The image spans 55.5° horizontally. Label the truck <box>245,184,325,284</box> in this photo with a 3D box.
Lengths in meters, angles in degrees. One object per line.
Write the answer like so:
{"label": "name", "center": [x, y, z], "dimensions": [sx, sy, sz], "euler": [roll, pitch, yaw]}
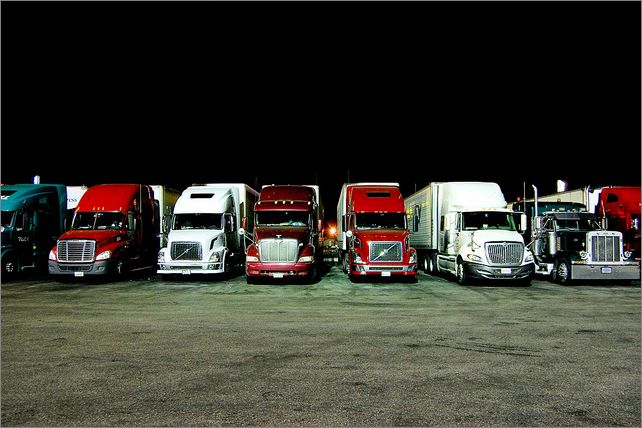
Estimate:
{"label": "truck", "center": [-1.426, 0.859, 24.267], "dimensions": [2.702, 3.560, 3.219], "euler": [1, 6, 4]}

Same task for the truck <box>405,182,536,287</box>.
{"label": "truck", "center": [6.043, 0.682, 26.250], "dimensions": [2.154, 3.045, 7.734], "euler": [0, -4, -3]}

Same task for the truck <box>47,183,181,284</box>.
{"label": "truck", "center": [-8.754, 0.629, 25.143], "dimensions": [2.220, 3.773, 4.531], "euler": [2, 6, 19]}
